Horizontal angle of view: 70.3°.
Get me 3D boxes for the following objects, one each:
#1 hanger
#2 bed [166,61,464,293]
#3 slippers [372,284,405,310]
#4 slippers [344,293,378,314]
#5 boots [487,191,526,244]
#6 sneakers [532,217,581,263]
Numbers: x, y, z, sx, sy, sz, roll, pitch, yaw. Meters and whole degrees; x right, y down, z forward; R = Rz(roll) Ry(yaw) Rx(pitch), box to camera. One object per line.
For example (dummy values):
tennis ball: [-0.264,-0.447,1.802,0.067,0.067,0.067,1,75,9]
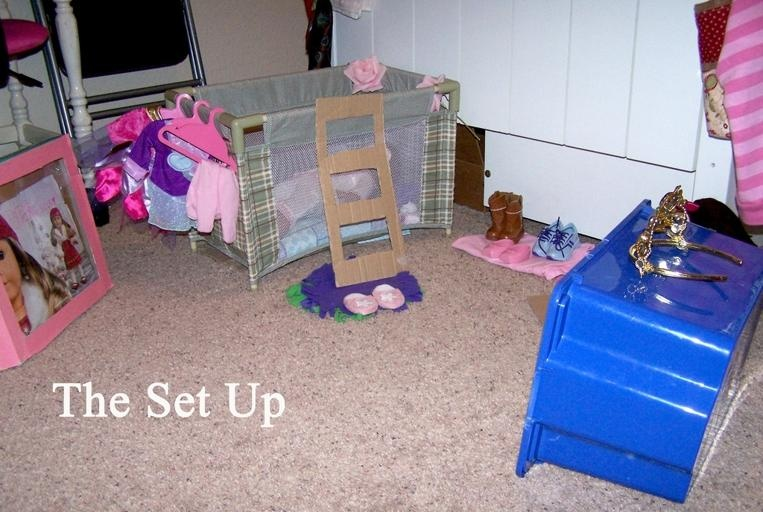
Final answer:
hanger: [-0.768,-0.497,2.275,0.406,0.260,0.171,17,34,34]
bed: [-0.339,-0.320,2.897,1.585,1.019,1.001,-20,37,-28]
slippers: [0.023,0.179,2.354,0.130,0.053,0.146,-11,29,-15]
slippers: [-0.094,0.209,2.306,0.145,0.061,0.096,4,29,13]
boots: [0.636,-0.209,2.797,0.193,0.236,0.241,7,34,21]
sneakers: [0.838,-0.073,2.597,0.155,0.100,0.224,28,63,35]
